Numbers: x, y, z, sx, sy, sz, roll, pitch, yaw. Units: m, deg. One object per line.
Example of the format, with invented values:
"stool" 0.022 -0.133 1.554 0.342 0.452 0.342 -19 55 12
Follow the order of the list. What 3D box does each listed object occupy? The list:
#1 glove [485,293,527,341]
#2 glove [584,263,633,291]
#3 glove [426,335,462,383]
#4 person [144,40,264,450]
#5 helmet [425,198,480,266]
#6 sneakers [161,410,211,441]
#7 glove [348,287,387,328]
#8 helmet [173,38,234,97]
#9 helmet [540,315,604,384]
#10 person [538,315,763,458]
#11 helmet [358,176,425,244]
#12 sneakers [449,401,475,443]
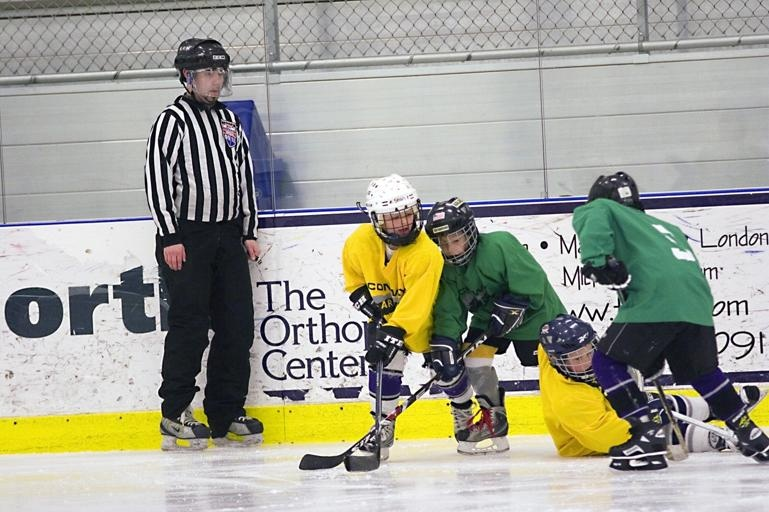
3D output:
"glove" 0.737 0.366 8.546 0.204 0.286 0.118 22 -1 -5
"glove" 1.289 0.108 8.045 0.190 0.174 0.074 20 41 -1
"glove" 0.367 0.633 8.445 0.227 0.239 0.286 -3 8 -4
"person" -1.183 -0.092 9.053 0.750 2.676 0.304 -5 0 -10
"helmet" 0.424 -0.171 8.583 0.290 0.358 0.376 -11 19 30
"sneakers" -1.284 1.104 8.914 0.336 0.135 0.146 -2 -6 20
"glove" -0.130 0.307 8.668 0.160 0.272 0.116 -43 -10 -13
"helmet" -1.168 -1.246 9.170 0.385 0.378 0.446 -9 8 -33
"helmet" 1.112 0.564 8.433 0.317 0.349 0.409 -27 25 -33
"person" 1.456 0.763 8.325 1.329 0.786 0.702 -10 4 20
"helmet" 0.041 -0.299 8.525 0.339 0.363 0.395 -13 18 -16
"sneakers" 0.502 1.015 8.658 0.133 0.269 0.273 -3 -23 8
